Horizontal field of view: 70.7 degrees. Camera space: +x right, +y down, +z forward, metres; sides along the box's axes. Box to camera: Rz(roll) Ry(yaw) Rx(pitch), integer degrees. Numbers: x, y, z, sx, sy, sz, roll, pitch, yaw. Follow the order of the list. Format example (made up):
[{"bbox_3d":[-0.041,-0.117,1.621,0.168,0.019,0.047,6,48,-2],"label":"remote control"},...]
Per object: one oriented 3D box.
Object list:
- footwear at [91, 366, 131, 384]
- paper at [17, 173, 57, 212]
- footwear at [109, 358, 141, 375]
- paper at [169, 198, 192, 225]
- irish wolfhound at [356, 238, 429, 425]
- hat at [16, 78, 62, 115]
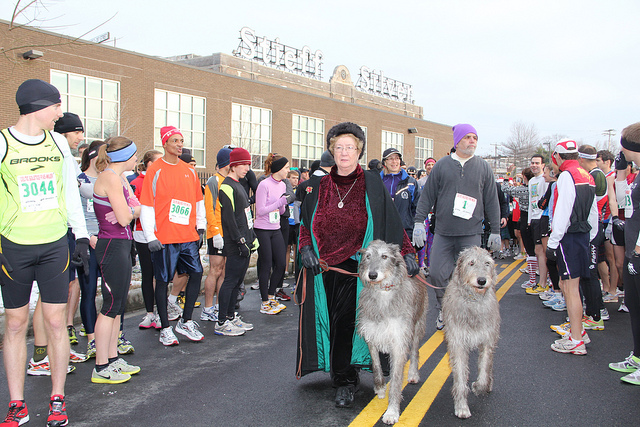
[{"bbox_3d":[-2.815,2.193,6.175,0.554,0.255,0.218,2,-4,-4],"label":"footwear"},{"bbox_3d":[-3.251,-0.223,5.146,0.378,0.412,0.042,-9,1,-38],"label":"paper"},{"bbox_3d":[-2.712,2.145,6.283,0.433,0.183,0.158,17,3,-2],"label":"footwear"},{"bbox_3d":[-2.290,-0.013,7.334,0.364,0.378,0.039,12,-20,-40],"label":"paper"},{"bbox_3d":[0.877,1.343,5.595,0.614,2.036,1.066,4,6,35],"label":"irish wolfhound"},{"bbox_3d":[-3.262,-1.357,5.360,0.450,0.397,0.443,-7,14,-14],"label":"hat"}]
